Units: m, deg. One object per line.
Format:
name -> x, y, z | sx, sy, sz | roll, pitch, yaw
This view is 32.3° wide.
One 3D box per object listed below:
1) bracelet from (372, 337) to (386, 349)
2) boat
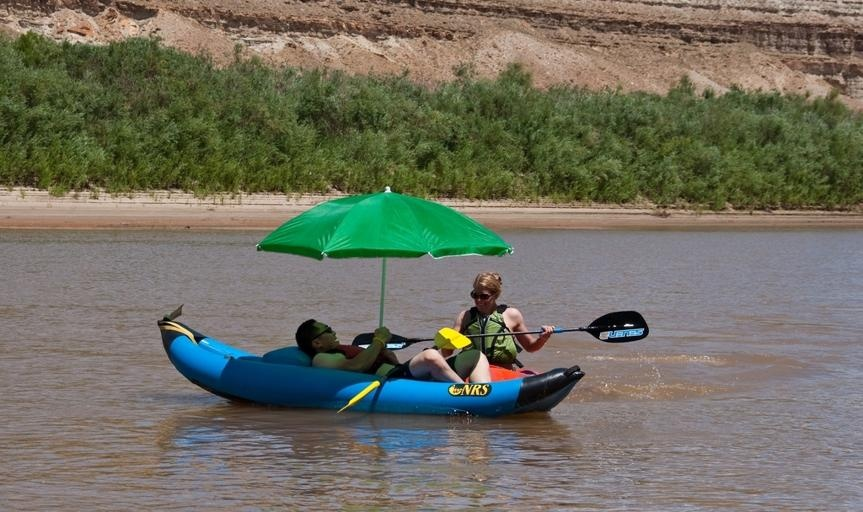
bracelet -> -1.175, 1.916, 33.398 | 0.286, 0.236, 0.100 | -2, 46, 34
boat -> -0.148, 2.767, 34.023 | 11.944, 2.141, 3.102 | 3, -2, 11
